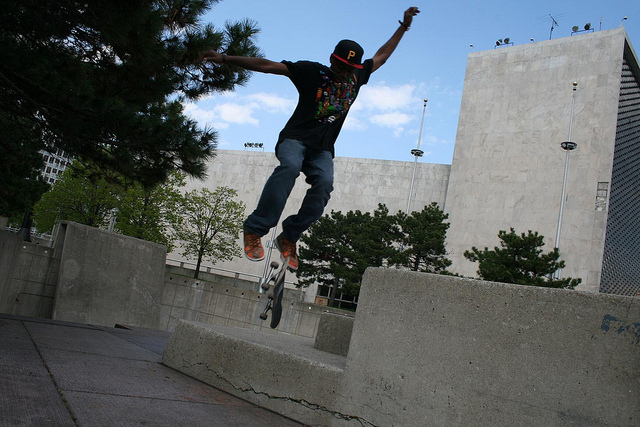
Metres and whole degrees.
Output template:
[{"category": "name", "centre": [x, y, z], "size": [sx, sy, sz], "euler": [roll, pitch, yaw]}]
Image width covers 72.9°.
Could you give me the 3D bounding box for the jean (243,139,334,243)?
[{"category": "jean", "centre": [-0.243, -0.388, 4.719], "size": [0.764, 1.507, 0.723], "euler": [12, -19, -2]}]
